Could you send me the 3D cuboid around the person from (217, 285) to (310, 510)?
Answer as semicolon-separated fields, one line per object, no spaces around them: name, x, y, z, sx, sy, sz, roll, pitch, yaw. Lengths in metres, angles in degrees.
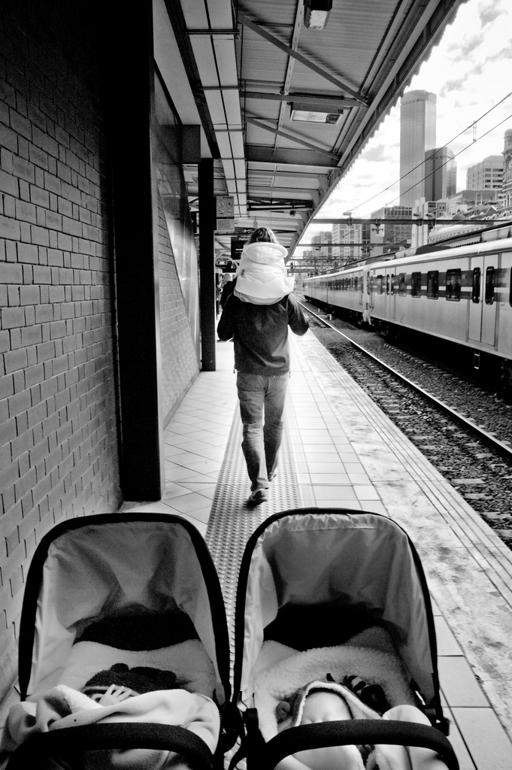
person;0.039;0.054;3.955;0.643;1.640;0.435;2;7;4
